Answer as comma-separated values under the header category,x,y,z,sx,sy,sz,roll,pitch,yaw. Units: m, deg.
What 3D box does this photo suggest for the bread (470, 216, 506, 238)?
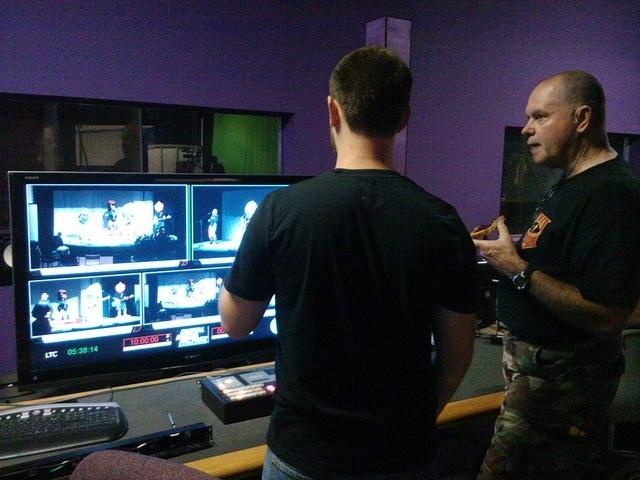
category,x,y,z,sx,sy,sz,roll,pitch,yaw
bread,0.884,-0.073,3.149,0.082,0.109,0.275,9,13,3

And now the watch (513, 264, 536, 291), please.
category,x,y,z,sx,sy,sz,roll,pitch,yaw
watch,0.825,0.150,2.408,0.096,0.104,0.066,0,21,-39
